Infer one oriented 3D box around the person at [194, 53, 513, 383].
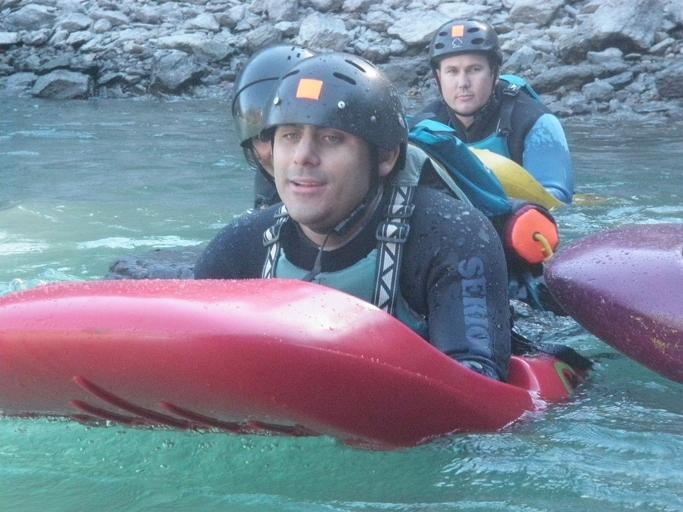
[{"bbox_3d":[0.046,-0.170,2.717,1.218,1.143,0.410,4,12,26],"label":"person"}]
